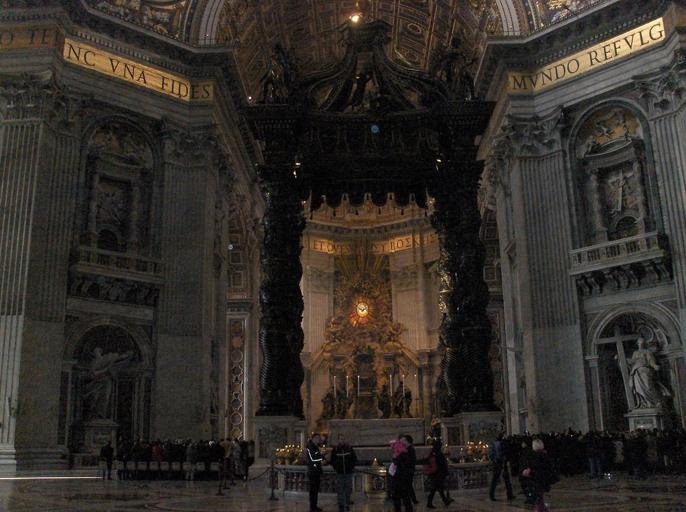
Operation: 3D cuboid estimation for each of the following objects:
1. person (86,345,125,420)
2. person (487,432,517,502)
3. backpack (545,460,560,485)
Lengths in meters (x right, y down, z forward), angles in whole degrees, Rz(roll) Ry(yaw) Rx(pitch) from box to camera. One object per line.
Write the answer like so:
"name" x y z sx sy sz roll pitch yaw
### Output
"person" -7.824 4.210 24.490 1.014 2.242 0.584 6 -18 -25
"person" 3.344 4.491 15.941 0.524 1.378 1.819 -5 -17 10
"backpack" 3.670 3.798 13.071 0.188 0.388 0.906 -7 -17 16
